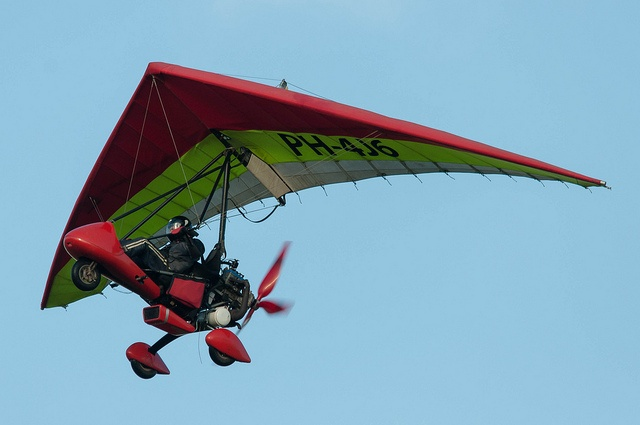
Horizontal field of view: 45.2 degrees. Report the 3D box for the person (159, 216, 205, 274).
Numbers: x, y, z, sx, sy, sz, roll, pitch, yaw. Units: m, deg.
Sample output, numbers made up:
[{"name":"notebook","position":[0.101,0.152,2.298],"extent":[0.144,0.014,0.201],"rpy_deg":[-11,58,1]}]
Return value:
[{"name":"person","position":[-2.761,0.659,15.233],"extent":[0.644,0.932,1.064],"rpy_deg":[7,-20,-15]}]
